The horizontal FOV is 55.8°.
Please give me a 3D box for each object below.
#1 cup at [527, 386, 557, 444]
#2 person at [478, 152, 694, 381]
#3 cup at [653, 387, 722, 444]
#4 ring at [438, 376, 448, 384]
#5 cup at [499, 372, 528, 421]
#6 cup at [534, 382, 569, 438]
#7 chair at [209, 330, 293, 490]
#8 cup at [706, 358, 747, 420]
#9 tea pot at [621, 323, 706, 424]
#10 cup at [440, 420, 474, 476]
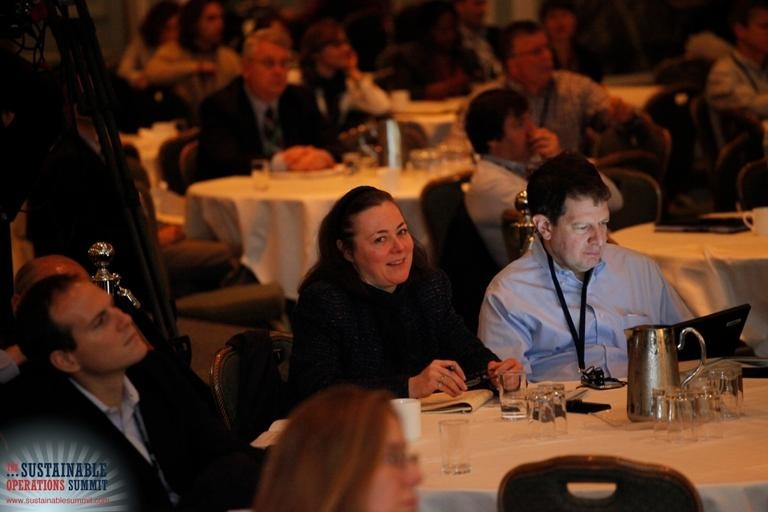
[{"bbox_3d":[0.428,0.430,1.949,0.069,0.119,0.068,0,-5,0],"label":"cup"},{"bbox_3d":[0.770,0.046,2.875,0.899,0.784,0.477,-14,14,-25],"label":"person"},{"bbox_3d":[0.794,0.412,1.900,0.143,0.105,0.138,-2,-8,0],"label":"cup"},{"bbox_3d":[0.177,0.377,2.188,0.017,0.018,0.005,27,24,29],"label":"ring"},{"bbox_3d":[0.377,0.414,2.112,0.091,0.142,0.090,-1,-8,0],"label":"cup"},{"bbox_3d":[0.468,0.433,1.959,0.079,0.142,0.079,9,-32,6],"label":"cup"},{"bbox_3d":[-0.436,0.448,2.413,0.251,0.333,0.277,-24,-10,-13],"label":"chair"},{"bbox_3d":[0.952,0.379,2.019,0.105,0.138,0.101,-9,9,1],"label":"cup"},{"bbox_3d":[0.768,0.328,1.985,0.237,0.273,0.135,2,-9,0],"label":"tea pot"},{"bbox_3d":[0.173,0.462,1.752,0.073,0.115,0.076,-6,4,0],"label":"cup"}]
